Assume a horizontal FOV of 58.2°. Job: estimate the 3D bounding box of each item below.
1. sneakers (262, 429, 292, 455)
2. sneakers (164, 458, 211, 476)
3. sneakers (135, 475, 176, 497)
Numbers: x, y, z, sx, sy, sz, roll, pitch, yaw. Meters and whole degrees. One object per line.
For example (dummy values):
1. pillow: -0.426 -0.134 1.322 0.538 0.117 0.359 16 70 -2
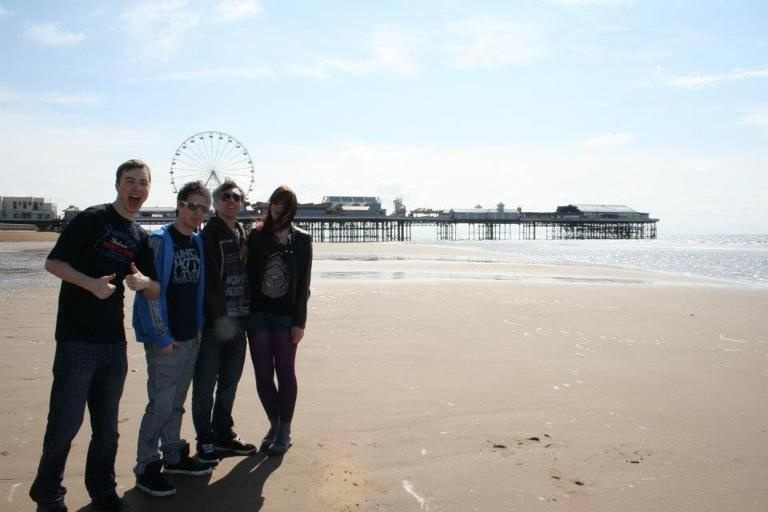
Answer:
1. sneakers: -0.962 1.700 6.243 0.319 0.215 0.145 4 -7 -22
2. sneakers: -1.686 1.833 6.030 0.441 0.176 0.158 2 9 -1
3. sneakers: -1.879 1.889 5.721 0.369 0.157 0.137 1 0 21
